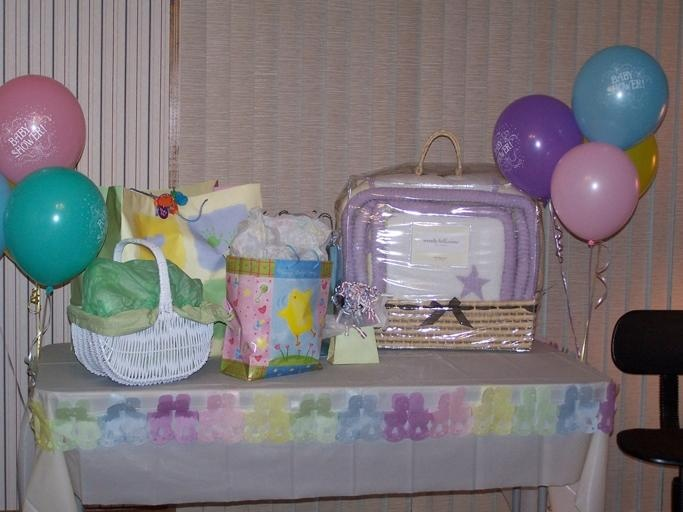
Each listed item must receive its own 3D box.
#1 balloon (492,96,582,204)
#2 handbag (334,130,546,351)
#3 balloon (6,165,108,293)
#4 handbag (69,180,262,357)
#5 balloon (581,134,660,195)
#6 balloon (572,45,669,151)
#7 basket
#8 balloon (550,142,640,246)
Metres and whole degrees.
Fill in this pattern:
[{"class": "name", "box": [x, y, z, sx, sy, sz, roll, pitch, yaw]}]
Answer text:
[{"class": "balloon", "box": [0.622, -0.405, 2.912, 0.300, 0.443, 0.325, -3, 17, -15]}, {"class": "handbag", "box": [0.301, 0.018, 2.981, 0.753, 0.847, 0.610, 0, 3, -5]}, {"class": "balloon", "box": [-0.809, -0.084, 2.584, 0.295, 0.431, 0.314, 10, -4, -13]}, {"class": "handbag", "box": [-0.541, 0.055, 2.486, 0.450, 0.472, 0.188, 2, -9, -15]}, {"class": "balloon", "box": [1.023, -0.359, 3.022, 0.228, 0.270, 0.146, -14, 19, -37]}, {"class": "balloon", "box": [0.954, -0.538, 2.833, 0.300, 0.402, 0.328, 5, -7, -8]}, {"class": "basket", "box": [-0.563, 0.177, 2.402, 0.418, 0.504, 0.330, 3, -5, -32]}, {"class": "balloon", "box": [0.833, -0.201, 2.707, 0.230, 0.337, 0.193, -3, 7, -26]}]
